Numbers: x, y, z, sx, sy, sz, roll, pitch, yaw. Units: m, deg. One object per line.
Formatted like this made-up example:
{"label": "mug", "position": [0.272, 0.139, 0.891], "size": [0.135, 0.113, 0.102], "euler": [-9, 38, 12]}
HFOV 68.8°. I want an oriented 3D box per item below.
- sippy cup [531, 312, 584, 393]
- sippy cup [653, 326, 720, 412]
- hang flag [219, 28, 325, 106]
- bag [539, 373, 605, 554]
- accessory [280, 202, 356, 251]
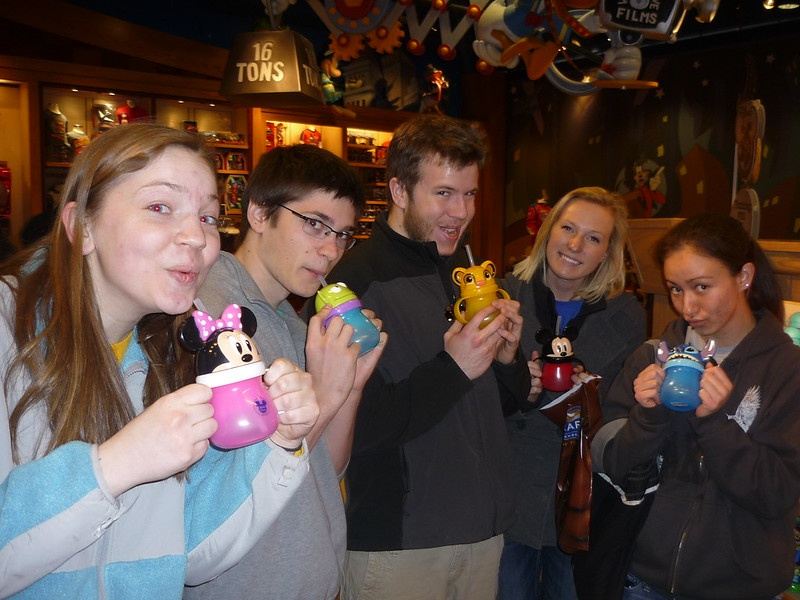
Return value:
{"label": "sippy cup", "position": [0.655, 0.233, 2.397], "size": [0.221, 0.303, 0.138], "euler": [-5, 10, -9]}
{"label": "sippy cup", "position": [1.011, 0.260, 2.062], "size": [0.193, 0.245, 0.154], "euler": [-9, -35, 46]}
{"label": "hang flag", "position": [-0.873, -1.537, 3.986], "size": [0.610, 0.393, 0.584], "euler": [-1, 2, -2]}
{"label": "bag", "position": [0.689, 0.659, 2.276], "size": [0.223, 0.683, 0.272], "euler": [0, -4, -1]}
{"label": "accessory", "position": [-0.308, -0.234, 1.961], "size": [0.278, 0.066, 0.283], "euler": [13, -1, 25]}
